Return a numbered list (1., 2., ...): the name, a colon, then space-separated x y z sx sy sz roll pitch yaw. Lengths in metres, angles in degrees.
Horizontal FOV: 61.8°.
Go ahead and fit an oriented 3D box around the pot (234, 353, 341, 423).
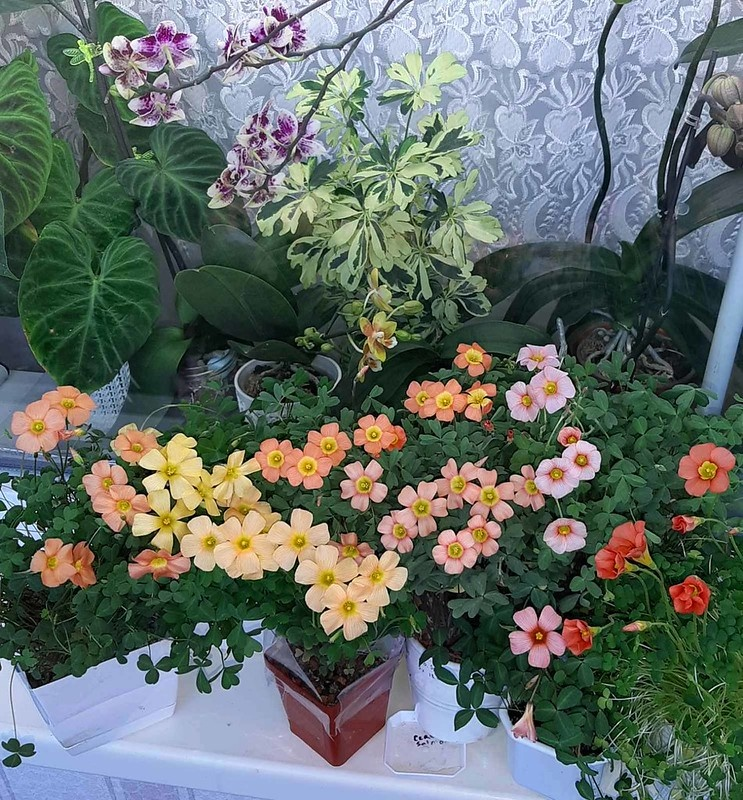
1. pot: -0.117 -0.015 0.874 0.137 0.083 0.125 -3 -2 0
